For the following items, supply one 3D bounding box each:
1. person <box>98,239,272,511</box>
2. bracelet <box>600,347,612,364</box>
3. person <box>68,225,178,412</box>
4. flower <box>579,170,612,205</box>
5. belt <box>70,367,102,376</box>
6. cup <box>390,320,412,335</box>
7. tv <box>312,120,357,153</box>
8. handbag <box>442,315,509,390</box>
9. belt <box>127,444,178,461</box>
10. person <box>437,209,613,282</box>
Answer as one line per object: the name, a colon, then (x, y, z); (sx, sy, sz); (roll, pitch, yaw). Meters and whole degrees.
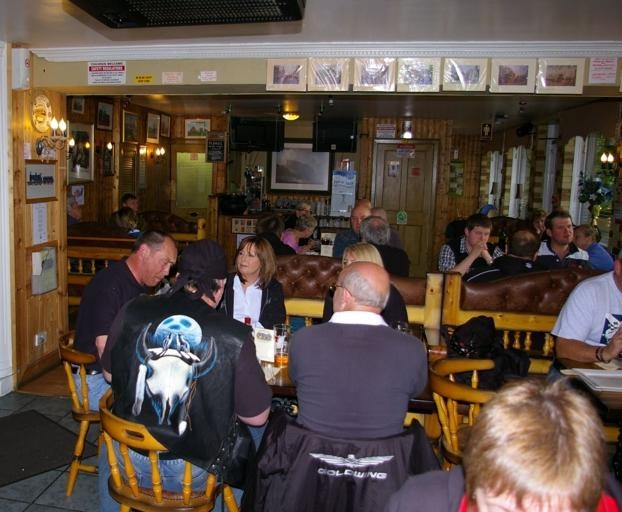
person: (-0.517, 0.420, 2.128); (0.597, 0.822, 0.445); (-10, 14, -25)
bracelet: (1.510, 0.505, 2.658); (0.017, 0.072, 0.073); (0, 14, 20)
person: (-1.029, 0.452, 3.003); (0.601, 1.199, 0.633); (6, 3, 8)
flower: (3.732, -0.901, 6.918); (0.450, 0.527, 0.476); (-7, 11, -32)
belt: (-1.307, 0.667, 3.014); (0.103, 0.045, 0.081); (0, -1, 32)
cup: (0.507, 0.411, 2.884); (0.106, 0.084, 0.095); (-2, 6, -9)
tv: (0.423, -2.204, 9.403); (0.905, 0.707, 0.535); (4, 11, 10)
handbag: (0.856, 0.492, 2.687); (0.265, 0.374, 0.130); (-1, -21, 20)
belt: (-0.624, 0.781, 2.074); (0.110, 0.028, 0.107); (4, 1, 0)
person: (1.780, -0.040, 4.598); (0.913, 0.547, 1.212); (9, 9, 40)
